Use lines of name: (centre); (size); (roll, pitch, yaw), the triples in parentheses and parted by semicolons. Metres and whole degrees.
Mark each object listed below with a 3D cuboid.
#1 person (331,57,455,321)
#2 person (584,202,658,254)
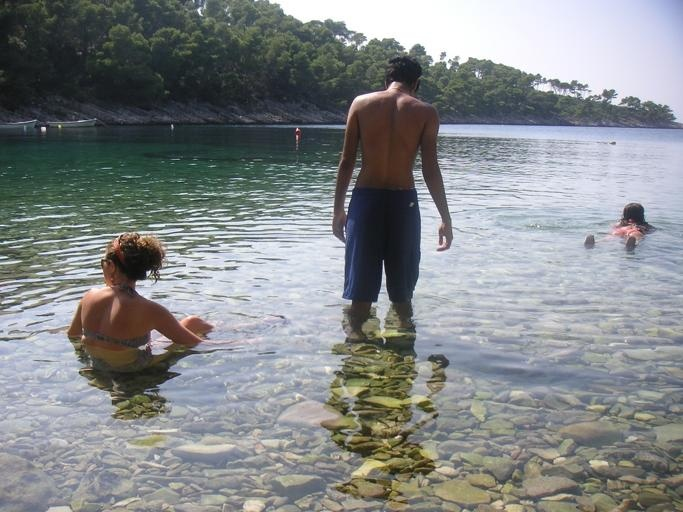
person: (0.562, -0.740, 7.284); (1.309, 3.039, 0.421); (-1, 13, -2)
person: (5.944, -0.416, 12.978); (1.151, 0.603, 1.640); (10, 26, 21)
